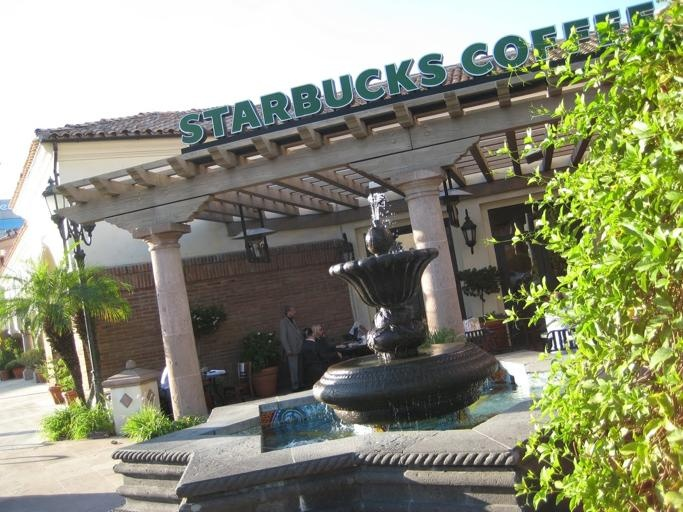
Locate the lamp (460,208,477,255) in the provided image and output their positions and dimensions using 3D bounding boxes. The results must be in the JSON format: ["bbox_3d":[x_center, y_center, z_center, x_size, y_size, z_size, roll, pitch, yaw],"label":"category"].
[{"bbox_3d":[3.069,-0.631,14.229,0.397,1.106,0.743,-10,-6,13],"label":"lamp"}]

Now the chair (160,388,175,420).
[{"bbox_3d":[-3.282,2.677,10.963,0.175,0.479,0.209,-7,-6,-11],"label":"chair"}]

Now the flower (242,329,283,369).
[{"bbox_3d":[-1.746,2.047,12.799,0.735,0.800,0.789,-10,7,-18],"label":"flower"}]

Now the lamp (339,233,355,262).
[{"bbox_3d":[0.126,-0.249,15.036,0.336,0.777,0.651,-8,-6,0],"label":"lamp"}]

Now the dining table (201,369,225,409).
[{"bbox_3d":[-2.608,2.678,12.179,0.422,0.842,2.228,-7,-7,-12],"label":"dining table"}]

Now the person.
[{"bbox_3d":[-0.715,1.827,12.205,1.089,1.688,1.303,-8,-6,-4],"label":"person"}]

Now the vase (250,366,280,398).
[{"bbox_3d":[-1.619,2.662,12.459,0.550,0.415,0.537,-3,-11,-7],"label":"vase"}]
